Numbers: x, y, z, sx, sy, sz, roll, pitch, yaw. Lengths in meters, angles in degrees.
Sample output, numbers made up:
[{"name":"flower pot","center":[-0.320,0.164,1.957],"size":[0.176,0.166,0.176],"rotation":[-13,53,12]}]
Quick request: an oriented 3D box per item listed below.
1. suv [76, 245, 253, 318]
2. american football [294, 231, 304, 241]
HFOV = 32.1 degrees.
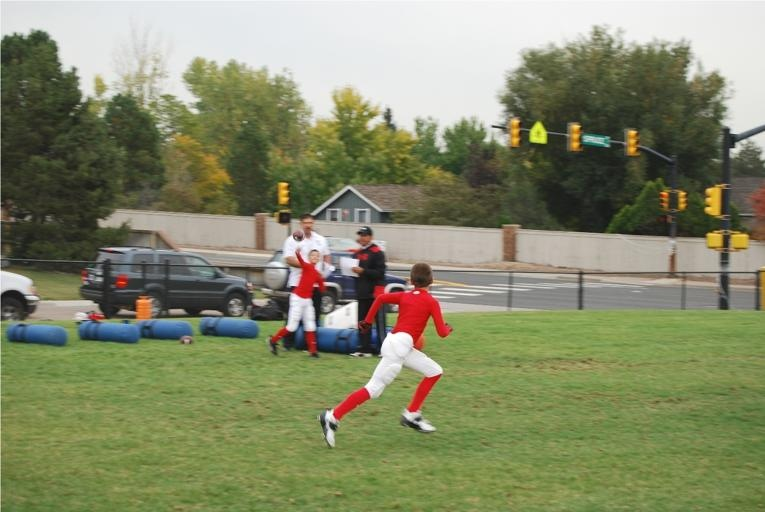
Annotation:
[{"name":"suv","center":[-7.488,0.886,45.613],"size":[5.471,2.402,2.190],"rotation":[2,-2,-33]},{"name":"american football","center":[-2.374,-0.582,37.863],"size":[0.342,0.274,0.243],"rotation":[2,-2,-20]}]
